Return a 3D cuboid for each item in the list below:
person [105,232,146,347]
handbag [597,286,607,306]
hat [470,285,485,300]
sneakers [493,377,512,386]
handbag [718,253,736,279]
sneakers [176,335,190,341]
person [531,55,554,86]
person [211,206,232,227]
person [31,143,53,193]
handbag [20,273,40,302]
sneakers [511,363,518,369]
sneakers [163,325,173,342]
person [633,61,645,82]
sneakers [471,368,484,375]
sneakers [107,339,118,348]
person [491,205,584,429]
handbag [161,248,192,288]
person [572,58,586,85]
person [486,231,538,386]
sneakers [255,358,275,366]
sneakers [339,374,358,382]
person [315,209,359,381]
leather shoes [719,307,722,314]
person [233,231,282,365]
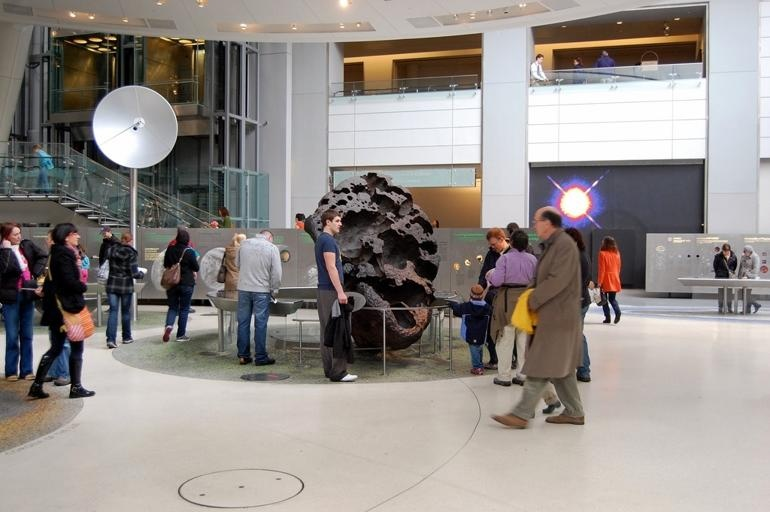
[{"bbox_3d":[-4.994,0.714,11.943,0.660,1.946,0.764,-1,3,-24],"label":"person"},{"bbox_3d":[5.021,0.919,14.415,0.204,0.474,0.468,-3,-3,19],"label":"handbag"},{"bbox_3d":[1.439,0.566,9.754,0.199,0.261,0.441,1,3,6],"label":"hat"},{"bbox_3d":[1.737,1.874,9.206,0.101,0.106,0.241,0,3,-31],"label":"sneakers"},{"bbox_3d":[9.837,0.273,17.971,0.592,0.774,0.439,6,-10,-20],"label":"handbag"},{"bbox_3d":[-4.041,1.644,12.449,0.264,0.115,0.103,1,-1,-19],"label":"sneakers"},{"bbox_3d":[5.887,-7.181,23.731,0.707,1.161,0.396,1,3,12],"label":"person"},{"bbox_3d":[-5.076,-1.230,19.272,0.544,0.639,0.748,-1,3,-17],"label":"person"},{"bbox_3d":[-10.889,-2.804,19.844,0.589,1.514,0.226,-1,3,-22],"label":"person"},{"bbox_3d":[-5.292,0.482,9.270,0.297,0.304,0.105,4,1,-42],"label":"handbag"},{"bbox_3d":[2.091,1.780,10.097,0.113,0.111,0.110,3,4,16],"label":"sneakers"},{"bbox_3d":[-4.235,1.560,12.134,0.156,0.374,0.145,13,21,-25],"label":"sneakers"},{"bbox_3d":[9.620,-6.982,23.460,0.215,0.741,0.717,1,3,21],"label":"person"},{"bbox_3d":[1.454,1.825,9.820,0.082,0.083,0.180,1,1,-1],"label":"sneakers"},{"bbox_3d":[-5.109,1.651,11.626,0.238,0.110,0.088,0,3,28],"label":"sneakers"},{"bbox_3d":[1.997,0.755,7.589,1.003,2.707,0.487,0,3,-1],"label":"person"},{"bbox_3d":[-4.128,0.249,12.260,0.547,0.807,0.318,-1,3,-21],"label":"handbag"},{"bbox_3d":[7.570,-7.191,24.219,0.435,1.217,1.632,1,3,17],"label":"person"},{"bbox_3d":[1.868,0.786,9.383,0.801,2.280,0.638,5,-6,-14],"label":"person"},{"bbox_3d":[-2.019,1.774,10.463,0.328,0.154,0.121,0,3,-17],"label":"sneakers"},{"bbox_3d":[-0.557,1.839,9.407,0.216,0.089,0.113,-2,-1,1],"label":"sneakers"},{"bbox_3d":[-0.776,0.580,9.572,0.551,2.593,0.845,0,3,-6],"label":"person"},{"bbox_3d":[9.310,1.515,17.295,0.101,0.140,0.102,-1,19,7],"label":"leather shoes"},{"bbox_3d":[-2.140,0.704,10.522,0.712,2.216,0.545,0,3,-13],"label":"person"}]
